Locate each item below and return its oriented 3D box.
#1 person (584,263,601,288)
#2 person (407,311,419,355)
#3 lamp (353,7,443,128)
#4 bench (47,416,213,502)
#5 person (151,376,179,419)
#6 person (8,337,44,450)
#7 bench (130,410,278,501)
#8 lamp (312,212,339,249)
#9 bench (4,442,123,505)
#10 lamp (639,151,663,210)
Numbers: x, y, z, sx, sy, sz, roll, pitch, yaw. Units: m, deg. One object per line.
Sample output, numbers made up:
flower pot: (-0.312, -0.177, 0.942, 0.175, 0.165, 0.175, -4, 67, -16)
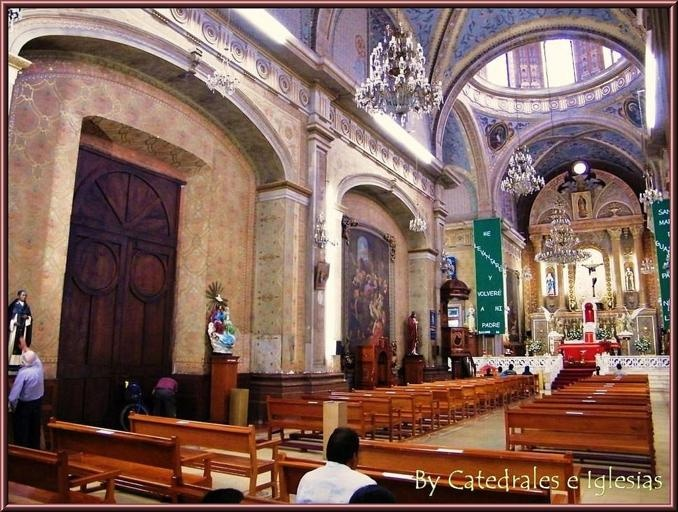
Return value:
person: (13.665, 1.093, 26.896, 1.145, 1.471, 0.279, -2, -4, 1)
person: (2.237, 2.377, 15.338, 0.377, 1.318, 0.760, -3, -14, 8)
lamp: (1.088, -3.715, 9.621, 1.475, 1.873, 0.965, -9, -16, 28)
bench: (-2.044, 1.994, 4.776, 1.532, 0.817, 0.516, -1, -4, 23)
person: (-3.005, 2.574, 8.616, 0.410, 0.953, 0.472, 11, -41, -26)
person: (-3.864, 1.783, 6.171, 0.369, 1.166, 0.460, 7, -16, -28)
bench: (-1.634, 2.192, 5.479, 1.801, 0.961, 0.490, -2, -4, 23)
lamp: (-0.352, -0.511, 11.352, 0.191, 0.756, 0.754, -7, -16, 22)
bench: (-2.422, 1.848, 4.199, 0.916, 0.476, 0.575, -4, -15, 11)
lamp: (10.865, -2.523, 17.503, 0.690, 1.503, 0.677, -4, 9, 43)
